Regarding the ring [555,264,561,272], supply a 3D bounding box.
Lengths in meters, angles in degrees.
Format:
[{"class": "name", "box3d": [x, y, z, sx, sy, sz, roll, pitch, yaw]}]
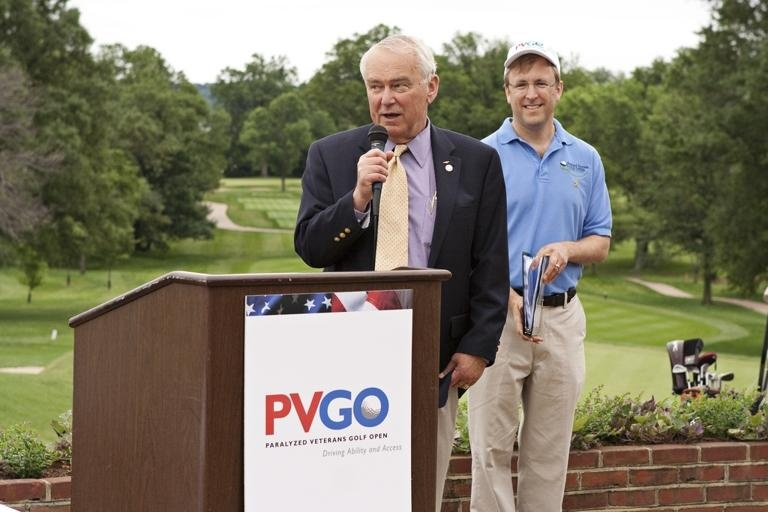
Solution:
[{"class": "ring", "box3d": [1.095, 0.071, 8.236, 0.030, 0.041, 0.014, 5, 3, -30]}]

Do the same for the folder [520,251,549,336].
[{"class": "folder", "box3d": [0.955, 0.214, 8.251, 0.136, 0.578, 0.151, 1, 0, 1]}]
